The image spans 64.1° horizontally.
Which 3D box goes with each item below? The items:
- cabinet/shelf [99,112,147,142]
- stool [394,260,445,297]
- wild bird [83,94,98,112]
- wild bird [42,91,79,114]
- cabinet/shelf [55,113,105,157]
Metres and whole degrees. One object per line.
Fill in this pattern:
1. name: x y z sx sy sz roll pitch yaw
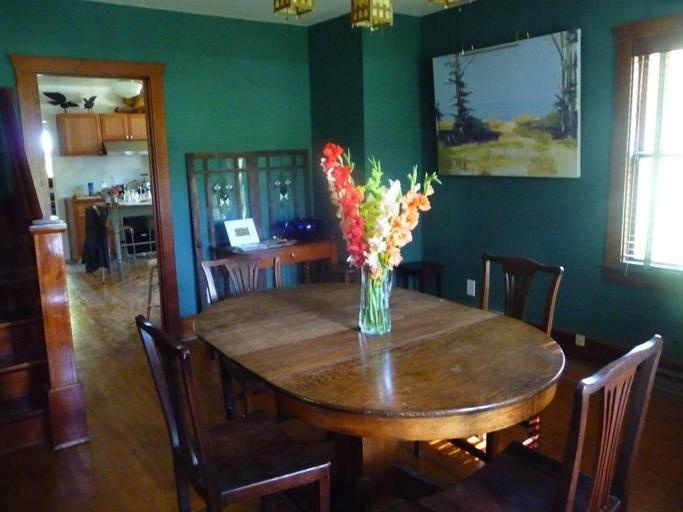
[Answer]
1. cabinet/shelf: -3.538 -2.087 8.850 0.684 0.440 0.255 -8 12 -25
2. stool: 0.799 0.160 5.397 0.363 0.521 0.365 -6 8 -34
3. wild bird: -4.018 -2.443 8.717 0.177 0.157 0.289 -8 15 -42
4. wild bird: -4.294 -2.338 8.348 0.426 0.299 0.336 -9 12 -27
5. cabinet/shelf: -4.093 -1.884 8.474 0.622 0.656 0.219 -8 10 -40
